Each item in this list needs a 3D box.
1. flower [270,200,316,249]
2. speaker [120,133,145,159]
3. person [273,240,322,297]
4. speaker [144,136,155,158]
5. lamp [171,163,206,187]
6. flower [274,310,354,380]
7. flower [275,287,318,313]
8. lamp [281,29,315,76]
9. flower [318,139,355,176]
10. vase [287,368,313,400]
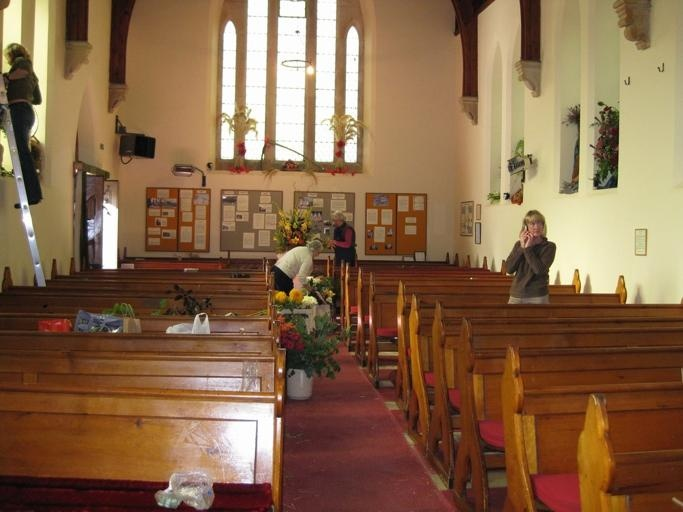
[{"bbox_3d":[-0.599,-0.464,9.263,0.416,0.586,0.473,5,-2,-44],"label":"flower"},{"bbox_3d":[-4.223,-2.190,12.513,0.545,0.422,0.530,4,-5,-32],"label":"speaker"},{"bbox_3d":[-0.601,0.164,8.249,0.295,0.322,0.718,2,-33,-38],"label":"person"},{"bbox_3d":[-3.908,-2.230,12.633,0.140,0.426,0.440,0,4,-10],"label":"speaker"},{"bbox_3d":[-3.180,-1.692,12.901,0.709,0.482,0.262,-1,4,-18],"label":"lamp"},{"bbox_3d":[-0.295,0.897,6.210,0.583,0.675,0.572,1,-20,-6],"label":"flower"},{"bbox_3d":[-0.520,0.520,7.205,0.318,0.194,0.380,2,-1,-9],"label":"flower"},{"bbox_3d":[-0.909,-4.455,13.247,0.668,1.070,1.075,0,4,-3],"label":"lamp"},{"bbox_3d":[-0.052,-2.158,13.583,0.513,0.623,0.547,-12,19,-6],"label":"flower"},{"bbox_3d":[-0.435,1.284,6.212,0.284,0.356,0.303,0,-1,-7],"label":"vase"}]
